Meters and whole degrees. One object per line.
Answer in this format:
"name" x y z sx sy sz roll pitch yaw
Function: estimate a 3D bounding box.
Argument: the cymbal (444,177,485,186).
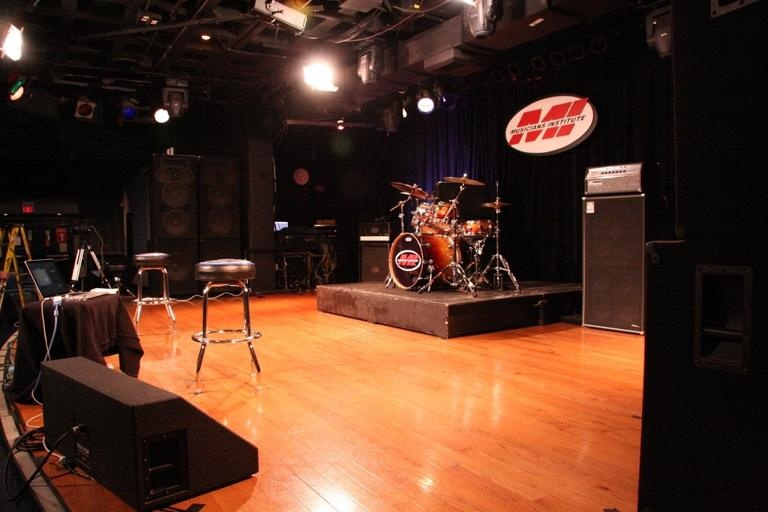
"cymbal" 1.002 -0.953 7.183 0.325 0.082 0.339 7 5 14

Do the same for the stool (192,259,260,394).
"stool" -1.262 0.514 4.520 0.626 0.910 0.563 0 1 -27

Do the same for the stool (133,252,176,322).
"stool" -2.658 0.329 6.473 0.484 0.784 0.465 -1 7 -17

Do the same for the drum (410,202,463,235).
"drum" 0.640 -0.452 6.833 0.441 0.302 0.561 2 -9 2

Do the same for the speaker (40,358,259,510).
"speaker" -1.287 0.625 2.964 1.139 0.554 0.613 3 6 43

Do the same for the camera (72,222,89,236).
"camera" -3.694 -0.324 6.856 0.182 0.176 0.321 -6 11 -27

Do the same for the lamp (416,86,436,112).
"lamp" 0.572 -2.173 7.864 0.238 0.321 0.293 0 10 2

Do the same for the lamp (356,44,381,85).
"lamp" -0.203 -2.510 7.224 0.229 0.485 0.478 -5 7 -37

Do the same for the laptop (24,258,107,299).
"laptop" -2.454 0.180 4.377 0.528 0.283 0.525 2 3 -25

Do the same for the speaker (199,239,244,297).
"speaker" -2.502 0.235 9.385 0.825 0.484 0.845 -6 12 32

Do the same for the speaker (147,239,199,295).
"speaker" -3.328 0.105 8.936 0.638 1.089 0.590 -6 19 -33

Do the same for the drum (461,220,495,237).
"drum" 1.059 -0.311 6.468 0.379 0.205 0.228 1 10 8

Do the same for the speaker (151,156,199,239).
"speaker" -3.343 -1.048 9.011 0.798 1.429 0.851 8 26 -4

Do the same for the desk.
"desk" -2.335 0.707 4.271 0.758 0.835 0.892 -5 -8 28

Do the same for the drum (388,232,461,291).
"drum" 0.477 0.044 6.845 0.637 0.826 0.759 2 -2 -39

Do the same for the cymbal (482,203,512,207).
"cymbal" 1.321 -0.604 6.658 0.158 0.041 0.161 -1 1 37
